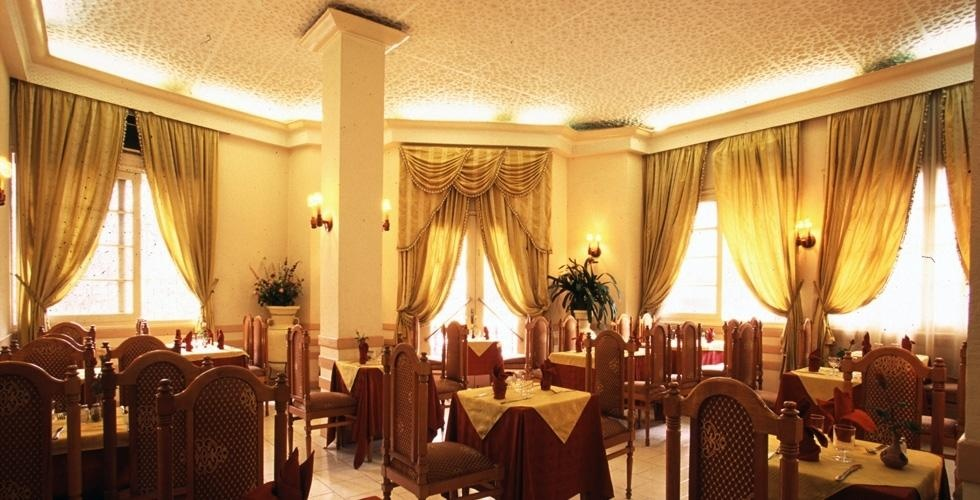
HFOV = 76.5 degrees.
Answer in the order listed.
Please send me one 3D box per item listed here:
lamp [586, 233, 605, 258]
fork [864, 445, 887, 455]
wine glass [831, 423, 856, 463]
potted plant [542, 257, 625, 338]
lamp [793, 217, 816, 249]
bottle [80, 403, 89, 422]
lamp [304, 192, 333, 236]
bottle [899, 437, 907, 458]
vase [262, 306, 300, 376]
[{"bbox_3d":[2.235,-0.092,13.346,0.332,0.513,0.138,1,-6,7],"label":"lamp"},{"bbox_3d":[4.615,2.400,7.489,0.242,0.025,0.032,-13,2,-26],"label":"fork"},{"bbox_3d":[4.189,2.279,7.398,0.295,0.427,0.150,4,-6,-13],"label":"wine glass"},{"bbox_3d":[1.921,0.962,13.263,1.602,1.412,1.483,7,8,39],"label":"potted plant"},{"bbox_3d":[5.941,-0.314,11.771,0.357,0.549,0.169,0,-7,23],"label":"lamp"},{"bbox_3d":[-5.075,2.046,7.804,0.187,0.182,0.094,-4,-9,42],"label":"bottle"},{"bbox_3d":[-2.892,-0.621,10.621,0.424,0.581,0.333,8,-9,-31],"label":"lamp"},{"bbox_3d":[4.890,2.326,7.401,0.060,0.210,0.260,-2,-7,35],"label":"bottle"},{"bbox_3d":[-4.418,1.855,12.941,0.846,1.341,0.853,4,-4,29],"label":"vase"}]
